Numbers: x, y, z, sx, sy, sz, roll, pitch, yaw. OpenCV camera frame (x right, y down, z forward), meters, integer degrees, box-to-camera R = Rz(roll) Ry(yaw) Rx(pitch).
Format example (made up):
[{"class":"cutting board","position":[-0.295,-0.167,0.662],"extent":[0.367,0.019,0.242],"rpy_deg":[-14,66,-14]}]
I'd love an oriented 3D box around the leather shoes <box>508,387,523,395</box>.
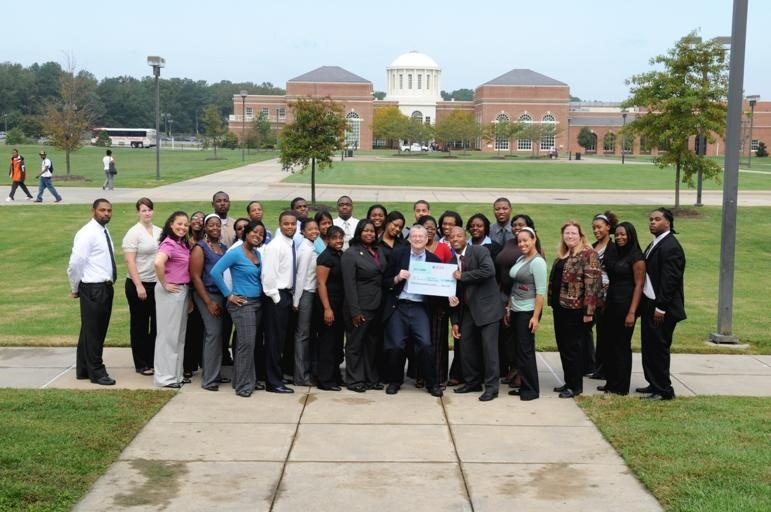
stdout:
[{"class":"leather shoes","position":[1.918,1.986,10.556],"extent":[0.228,0.079,0.081],"rpy_deg":[2,1,-18]}]

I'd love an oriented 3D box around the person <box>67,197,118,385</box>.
[{"class":"person","position":[-4.268,0.519,10.545],"extent":[0.668,2.639,1.014],"rpy_deg":[-4,16,-18]}]

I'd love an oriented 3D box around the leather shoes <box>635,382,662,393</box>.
[{"class":"leather shoes","position":[3.819,1.925,10.449],"extent":[0.343,0.124,0.108],"rpy_deg":[2,3,25]}]

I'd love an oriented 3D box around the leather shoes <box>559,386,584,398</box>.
[{"class":"leather shoes","position":[2.689,1.972,10.390],"extent":[0.372,0.112,0.133],"rpy_deg":[4,-6,-15]}]

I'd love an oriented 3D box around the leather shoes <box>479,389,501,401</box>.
[{"class":"leather shoes","position":[1.486,1.975,10.321],"extent":[0.231,0.132,0.355],"rpy_deg":[6,14,22]}]

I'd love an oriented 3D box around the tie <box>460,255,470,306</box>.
[{"class":"tie","position":[1.120,0.344,10.444],"extent":[0.161,0.646,0.216],"rpy_deg":[-1,1,-23]}]

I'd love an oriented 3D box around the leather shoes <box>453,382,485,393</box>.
[{"class":"leather shoes","position":[1.254,1.936,10.638],"extent":[0.497,0.171,0.152],"rpy_deg":[2,-1,-9]}]

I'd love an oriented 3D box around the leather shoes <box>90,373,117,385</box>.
[{"class":"leather shoes","position":[-4.085,1.803,10.535],"extent":[0.389,0.129,0.142],"rpy_deg":[0,2,10]}]
